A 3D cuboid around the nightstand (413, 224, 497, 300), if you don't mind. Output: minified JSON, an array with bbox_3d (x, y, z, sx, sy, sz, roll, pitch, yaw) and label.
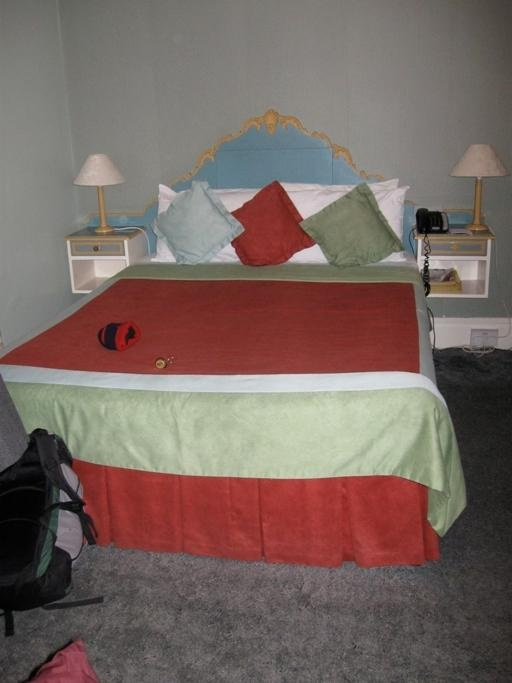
[{"bbox_3d":[1.240,-0.508,3.521,0.434,0.387,0.340,2,24,18],"label":"nightstand"}]

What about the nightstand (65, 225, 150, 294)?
[{"bbox_3d":[-1.010,-0.558,3.835,0.427,0.375,0.335,-1,21,1],"label":"nightstand"}]

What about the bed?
[{"bbox_3d":[-0.044,0.200,2.420,1.628,0.697,1.427,0,21,10],"label":"bed"}]
